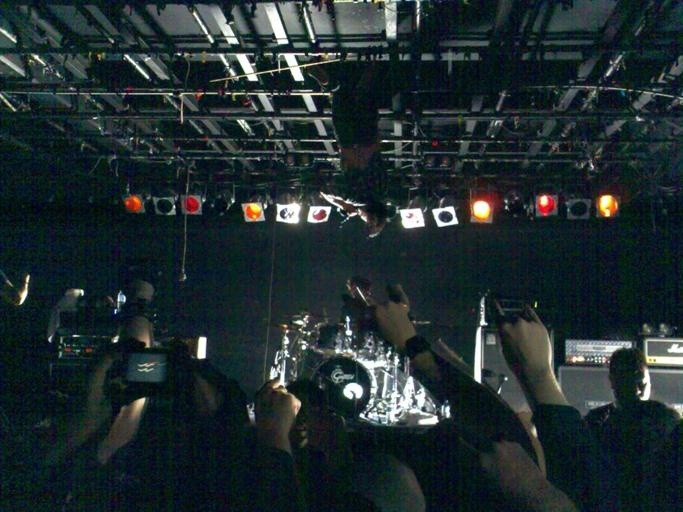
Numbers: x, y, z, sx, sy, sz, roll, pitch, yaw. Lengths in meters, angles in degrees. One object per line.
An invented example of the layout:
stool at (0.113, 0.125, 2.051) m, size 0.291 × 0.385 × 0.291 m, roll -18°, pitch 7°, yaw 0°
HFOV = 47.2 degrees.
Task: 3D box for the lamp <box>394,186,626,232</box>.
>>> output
lamp at (2.227, -0.578, 10.280) m, size 2.657 × 0.462 × 1.161 m, roll 2°, pitch 2°, yaw 10°

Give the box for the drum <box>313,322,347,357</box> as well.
drum at (-0.119, 0.959, 8.882) m, size 0.329 × 0.335 × 0.305 m, roll -1°, pitch -26°, yaw 10°
